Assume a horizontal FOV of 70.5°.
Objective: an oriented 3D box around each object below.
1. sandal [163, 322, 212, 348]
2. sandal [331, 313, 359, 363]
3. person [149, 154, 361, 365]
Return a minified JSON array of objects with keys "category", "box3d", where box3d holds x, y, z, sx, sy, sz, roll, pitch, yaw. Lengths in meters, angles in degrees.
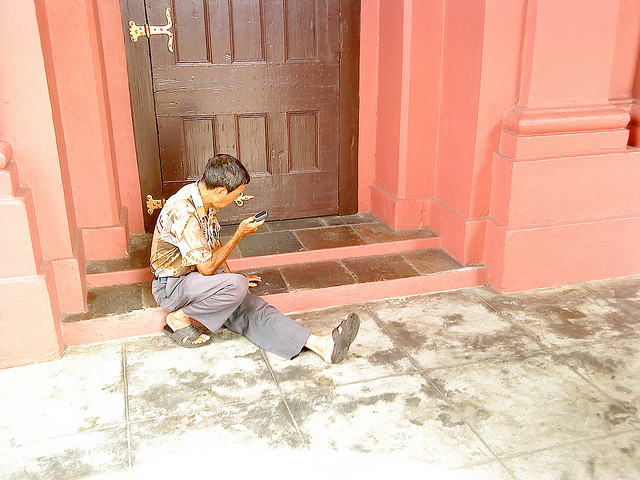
[{"category":"sandal","box3d":[-0.883,0.628,2.987,0.268,0.084,0.149,27,34,17]},{"category":"sandal","box3d":[0.144,0.587,2.685,0.125,0.331,0.140,20,4,-42]},{"category":"person","box3d":[-0.438,0.137,2.954,1.379,1.233,0.681,11,18,13]}]
